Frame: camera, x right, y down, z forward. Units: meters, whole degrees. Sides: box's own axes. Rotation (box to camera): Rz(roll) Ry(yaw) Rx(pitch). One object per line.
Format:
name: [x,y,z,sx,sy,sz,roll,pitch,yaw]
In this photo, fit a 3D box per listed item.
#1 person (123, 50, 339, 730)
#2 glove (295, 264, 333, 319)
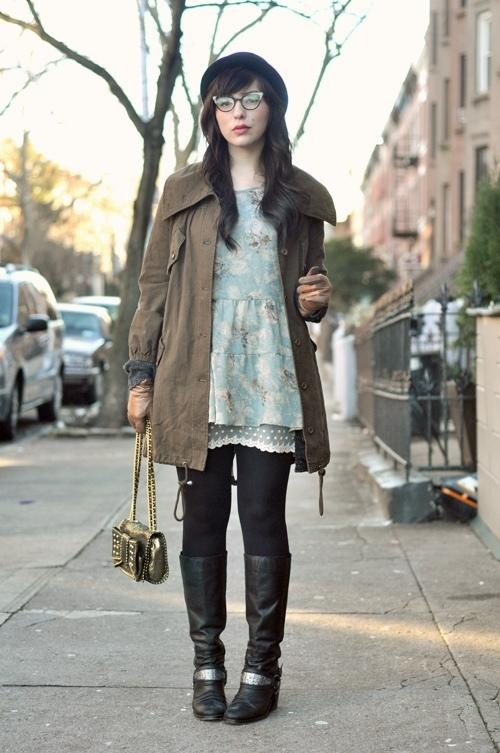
person: [-0.061,0.008,2.463,0.625,1.859,0.419,-1,2,5]
glove: [0.194,-0.245,2.461,0.072,0.142,0.109,4,-1,21]
